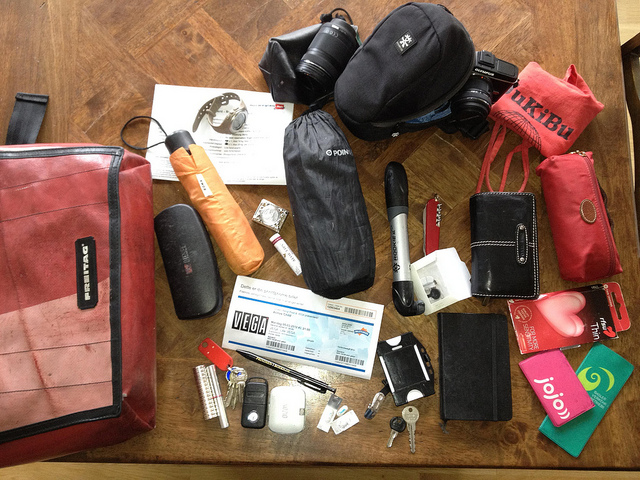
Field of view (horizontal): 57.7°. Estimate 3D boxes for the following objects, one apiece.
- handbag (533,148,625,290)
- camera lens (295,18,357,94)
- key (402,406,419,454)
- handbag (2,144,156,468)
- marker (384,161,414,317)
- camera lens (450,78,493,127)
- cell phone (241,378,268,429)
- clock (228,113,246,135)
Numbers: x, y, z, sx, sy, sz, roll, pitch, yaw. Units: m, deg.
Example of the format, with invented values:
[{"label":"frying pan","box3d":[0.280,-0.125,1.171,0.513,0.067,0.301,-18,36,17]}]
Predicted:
[{"label":"handbag","box3d":[0.657,-0.058,1.486,0.173,0.127,0.388,-13,95,14]},{"label":"camera lens","box3d":[0.028,-0.483,1.532,0.119,0.117,0.188,34,81,-28]},{"label":"key","box3d":[0.234,0.475,1.484,0.043,0.003,0.135,-1,115,15]},{"label":"handbag","box3d":[-0.559,0.137,1.358,0.318,0.316,0.656,-2,62,-7]},{"label":"marker","box3d":[0.204,-0.003,1.479,0.068,0.054,0.382,-3,90,8]},{"label":"camera lens","box3d":[0.377,-0.343,1.495,0.080,0.111,0.111,15,55,-2]},{"label":"cell phone","box3d":[-0.169,0.406,1.469,0.055,0.032,0.119,2,83,5]},{"label":"clock","box3d":[-0.216,-0.308,1.537,0.011,0.048,0.049,39,102,42]}]
